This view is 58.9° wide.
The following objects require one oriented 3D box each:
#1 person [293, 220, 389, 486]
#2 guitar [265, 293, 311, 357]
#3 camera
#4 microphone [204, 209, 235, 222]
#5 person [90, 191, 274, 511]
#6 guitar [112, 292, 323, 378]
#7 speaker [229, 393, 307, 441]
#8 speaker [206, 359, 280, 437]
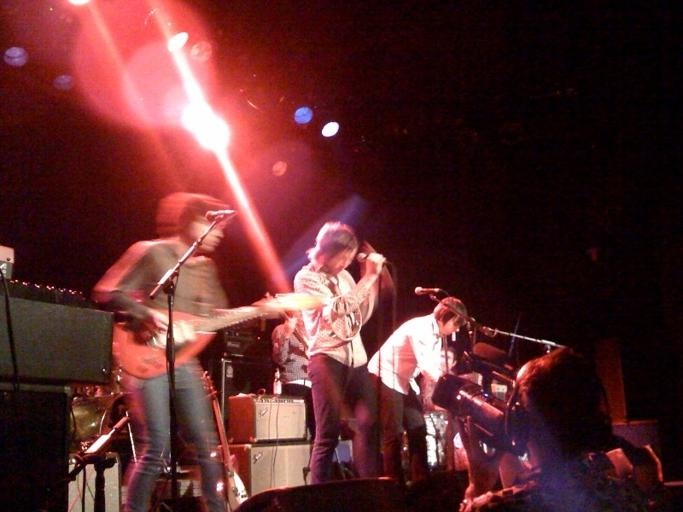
[{"bbox_3d":[0.022,0.751,5.033,0.754,2.097,0.707,-5,-26,4],"label":"person"},{"bbox_3d":[-0.628,0.870,7.142,0.236,0.872,0.522,-10,6,-31],"label":"guitar"},{"bbox_3d":[0.791,0.829,3.383,0.297,0.293,0.529,33,-7,-20],"label":"camera"},{"bbox_3d":[-0.927,-0.316,4.568,0.193,0.082,0.105,-9,6,-44],"label":"microphone"},{"bbox_3d":[-1.294,0.607,4.400,1.054,2.311,0.750,13,-30,-29],"label":"person"},{"bbox_3d":[-1.033,0.696,5.178,1.212,0.472,0.159,-6,-30,-38],"label":"guitar"},{"bbox_3d":[-0.825,1.653,6.357,0.787,0.539,0.525,3,-3,-24],"label":"speaker"},{"bbox_3d":[-1.172,1.661,7.068,0.626,1.192,0.857,-11,-14,35],"label":"speaker"}]
